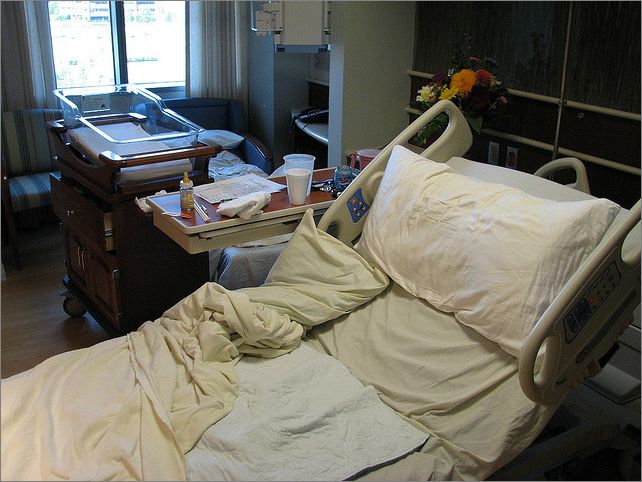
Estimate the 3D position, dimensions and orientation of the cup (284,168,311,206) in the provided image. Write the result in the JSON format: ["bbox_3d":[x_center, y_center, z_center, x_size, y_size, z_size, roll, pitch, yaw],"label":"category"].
[{"bbox_3d":[-0.105,-0.257,2.273,0.134,0.162,0.145,-1,9,0],"label":"cup"}]

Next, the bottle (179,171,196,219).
[{"bbox_3d":[-0.591,-0.224,2.172,0.060,0.175,0.064,5,29,-3],"label":"bottle"}]

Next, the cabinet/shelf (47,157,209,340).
[{"bbox_3d":[-1.242,-0.049,3.145,0.881,0.910,0.664,20,25,37],"label":"cabinet/shelf"}]

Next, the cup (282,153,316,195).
[{"bbox_3d":[-0.102,-0.353,2.378,0.170,0.201,0.189,-4,24,-8],"label":"cup"}]

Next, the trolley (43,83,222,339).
[{"bbox_3d":[-1.205,-0.122,3.100,0.642,1.420,1.000,-13,25,-43],"label":"trolley"}]
